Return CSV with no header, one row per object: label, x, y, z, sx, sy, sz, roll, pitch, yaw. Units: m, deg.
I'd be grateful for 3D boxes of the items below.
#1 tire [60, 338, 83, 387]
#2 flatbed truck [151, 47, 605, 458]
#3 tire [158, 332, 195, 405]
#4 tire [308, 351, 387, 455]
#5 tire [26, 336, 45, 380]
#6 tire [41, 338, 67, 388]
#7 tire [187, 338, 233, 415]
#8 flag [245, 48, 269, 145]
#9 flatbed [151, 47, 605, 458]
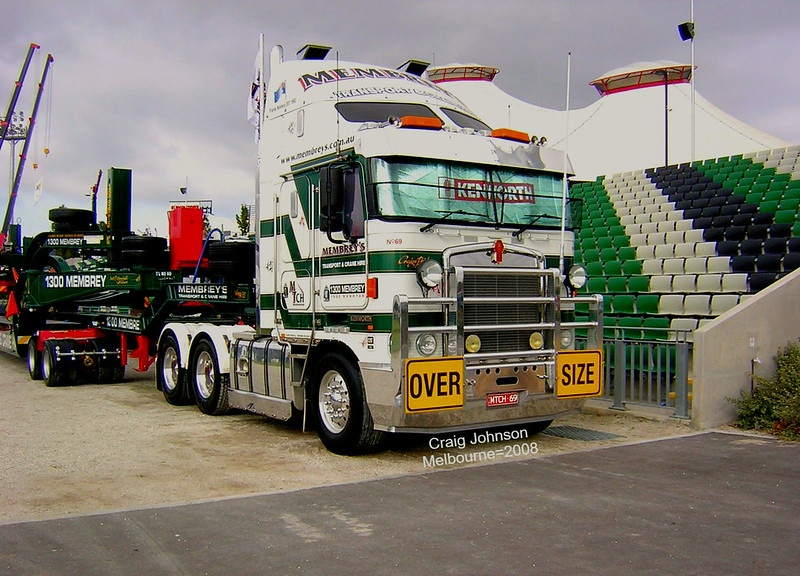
tire,-7.672,1.761,15.381,0.276,0.961,0.869,-5,9,-28
flatbed truck,-0.669,-0.099,12.253,3.375,5.495,8.208,2,-3,-31
tire,-4.387,1.610,13.026,0.364,1.147,1.054,3,-19,-35
tire,-0.692,1.590,9.093,0.588,1.568,1.318,-2,0,-39
tire,-9.022,1.739,16.368,0.243,0.761,0.738,-3,43,-25
tire,-8.024,1.759,15.346,0.310,0.990,0.893,-1,7,-30
tire,-3.442,1.609,12.020,0.396,1.398,1.141,-4,-3,-40
flag,-2.464,-3.354,11.727,0.324,1.723,0.424,18,31,14
flatbed,-0.433,-0.154,12.284,3.375,5.495,8.208,2,-3,-31
